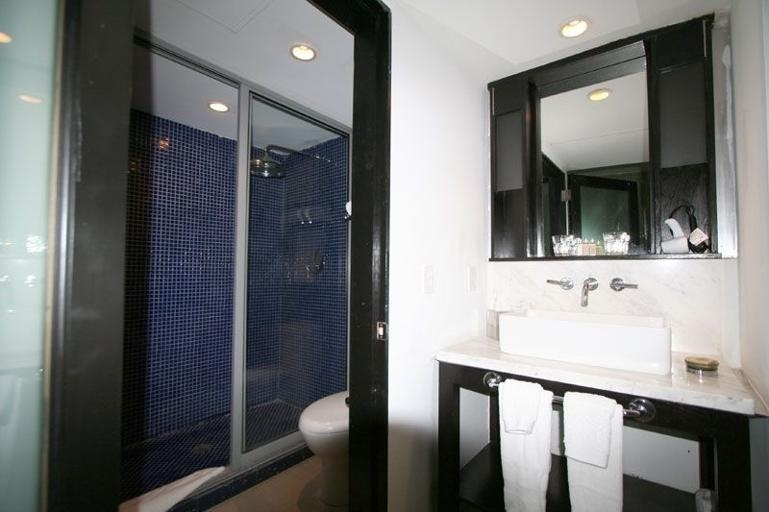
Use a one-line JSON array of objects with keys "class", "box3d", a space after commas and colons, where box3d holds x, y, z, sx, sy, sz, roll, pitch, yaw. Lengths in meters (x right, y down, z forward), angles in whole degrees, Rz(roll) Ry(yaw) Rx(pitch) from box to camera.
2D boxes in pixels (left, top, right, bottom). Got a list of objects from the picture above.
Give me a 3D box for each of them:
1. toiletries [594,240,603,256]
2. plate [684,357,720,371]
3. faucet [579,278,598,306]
[{"class": "toiletries", "box3d": [1.218, -0.050, 3.055, 0.038, 0.080, 0.041, -2, 1, -13]}, {"class": "plate", "box3d": [1.511, 0.505, 2.571, 0.127, 0.055, 0.213, -1, 1, 26]}, {"class": "faucet", "box3d": [1.128, 0.185, 3.004, 0.066, 0.167, 0.097, 9, -5, -28]}]
